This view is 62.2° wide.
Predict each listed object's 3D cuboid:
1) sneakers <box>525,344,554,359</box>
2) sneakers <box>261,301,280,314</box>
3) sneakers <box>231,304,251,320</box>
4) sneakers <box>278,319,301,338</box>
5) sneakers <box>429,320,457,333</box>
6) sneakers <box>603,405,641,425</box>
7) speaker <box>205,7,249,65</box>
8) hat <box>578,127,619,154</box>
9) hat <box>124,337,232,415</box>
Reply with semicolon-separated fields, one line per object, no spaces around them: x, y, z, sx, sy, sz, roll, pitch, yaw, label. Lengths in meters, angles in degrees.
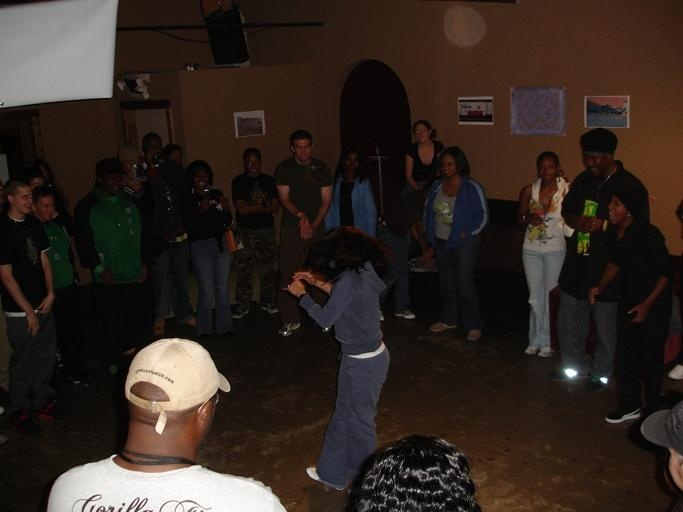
2.035;0.999;5.803;0.280;0.107;0.129;9;-26;17;sneakers
-0.911;0.666;7.268;0.211;0.133;0.136;10;-8;21;sneakers
-1.272;0.702;7.126;0.112;0.116;0.267;3;-2;14;sneakers
-0.605;0.858;6.664;0.111;0.128;0.307;9;13;37;sneakers
1.179;0.825;6.531;0.302;0.113;0.123;2;6;-13;sneakers
2.281;1.319;4.611;0.310;0.129;0.116;-5;20;-2;sneakers
-1.727;-3.467;8.410;0.542;0.799;1.047;-10;-8;-9;speaker
2.192;-1.012;4.792;0.244;0.181;0.252;2;28;11;hat
-0.496;0.402;1.822;0.192;0.159;0.269;19;21;31;hat
